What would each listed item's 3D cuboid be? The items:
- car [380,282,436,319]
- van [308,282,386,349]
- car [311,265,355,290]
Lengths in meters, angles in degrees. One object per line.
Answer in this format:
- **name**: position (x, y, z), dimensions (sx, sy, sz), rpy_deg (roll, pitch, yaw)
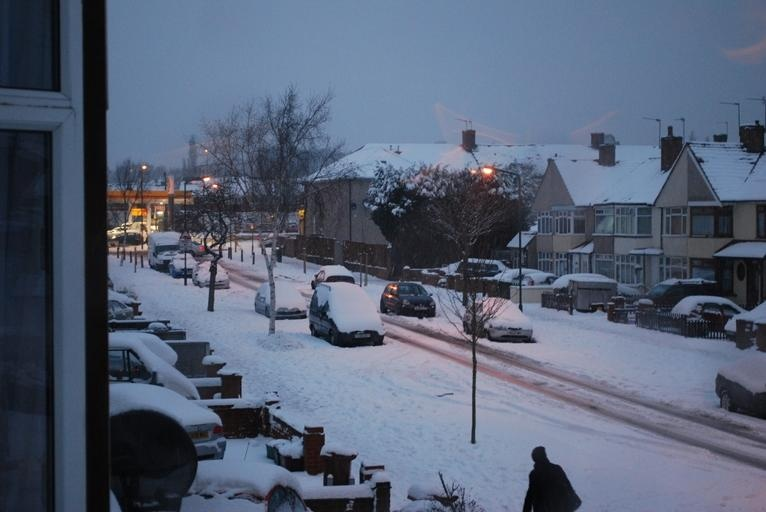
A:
- **car**: position (0.983, 1.865, 38.382), dimensions (1.190, 1.088, 2.287), rpy_deg (1, -4, -15)
- **van**: position (-1.192, 1.896, 30.057), dimensions (1.691, 1.897, 2.645), rpy_deg (1, 3, -28)
- **car**: position (-2.352, 0.900, 42.857), dimensions (1.155, 1.067, 2.013), rpy_deg (0, -6, -12)
